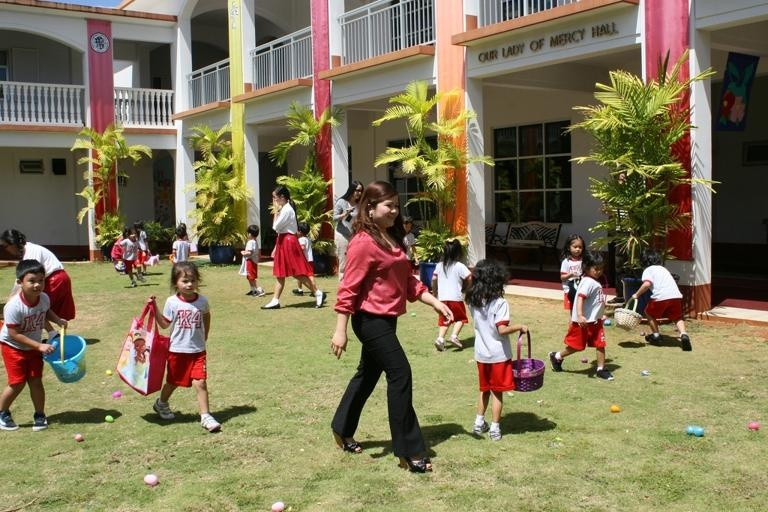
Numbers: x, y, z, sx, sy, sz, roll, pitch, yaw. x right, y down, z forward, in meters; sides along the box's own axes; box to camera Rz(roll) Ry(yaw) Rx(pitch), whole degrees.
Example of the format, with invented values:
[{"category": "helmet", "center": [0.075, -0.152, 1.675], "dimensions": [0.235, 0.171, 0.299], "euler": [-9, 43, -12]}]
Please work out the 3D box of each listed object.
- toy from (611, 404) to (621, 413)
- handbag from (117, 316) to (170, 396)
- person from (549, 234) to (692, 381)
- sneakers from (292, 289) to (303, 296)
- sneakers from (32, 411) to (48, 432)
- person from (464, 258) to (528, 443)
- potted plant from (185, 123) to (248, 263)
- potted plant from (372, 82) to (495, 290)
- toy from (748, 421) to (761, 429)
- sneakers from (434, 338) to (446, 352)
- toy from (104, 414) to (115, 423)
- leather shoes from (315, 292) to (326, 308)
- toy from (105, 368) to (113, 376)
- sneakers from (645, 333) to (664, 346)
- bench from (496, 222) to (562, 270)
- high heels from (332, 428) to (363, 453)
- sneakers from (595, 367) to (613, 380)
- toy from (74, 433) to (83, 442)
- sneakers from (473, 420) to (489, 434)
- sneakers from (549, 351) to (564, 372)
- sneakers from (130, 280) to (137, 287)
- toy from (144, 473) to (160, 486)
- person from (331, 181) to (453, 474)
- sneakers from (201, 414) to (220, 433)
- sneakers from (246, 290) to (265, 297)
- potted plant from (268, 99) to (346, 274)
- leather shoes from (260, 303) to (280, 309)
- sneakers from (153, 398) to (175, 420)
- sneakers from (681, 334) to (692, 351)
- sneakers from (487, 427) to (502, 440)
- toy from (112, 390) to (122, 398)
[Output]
[{"category": "toy", "center": [2.222, 1.477, 5.704], "dimensions": [0.064, 0.034, 0.064], "euler": [-1, 3, 2]}, {"category": "handbag", "center": [-2.254, 0.918, 5.500], "dimensions": [0.457, 0.665, 0.254], "euler": [0, 8, 12]}, {"category": "person", "center": [3.187, 0.701, 7.813], "dimensions": [1.608, 1.422, 0.877], "euler": [-6, 0, -12]}, {"category": "sneakers", "center": [-1.671, 0.696, 11.394], "dimensions": [0.215, 0.093, 0.095], "euler": [12, 14, 42]}, {"category": "sneakers", "center": [-3.153, 1.513, 5.403], "dimensions": [0.090, 0.089, 0.209], "euler": [0, -3, -15]}, {"category": "person", "center": [0.956, 0.813, 5.184], "dimensions": [0.370, 1.526, 0.467], "euler": [-8, 10, -40]}, {"category": "potted plant", "center": [-4.877, -1.384, 16.842], "dimensions": [1.837, 3.103, 1.587], "euler": [-15, -10, 26]}, {"category": "potted plant", "center": [0.731, -1.679, 12.178], "dimensions": [2.163, 3.517, 2.381], "euler": [-18, 4, -17]}, {"category": "toy", "center": [3.279, 1.503, 5.257], "dimensions": [0.066, 0.044, 0.066], "euler": [-1, 1, -2]}, {"category": "sneakers", "center": [0.703, 1.130, 7.537], "dimensions": [0.097, 0.114, 0.246], "euler": [4, -22, 22]}, {"category": "toy", "center": [-2.597, 1.545, 5.599], "dimensions": [0.060, 0.031, 0.061], "euler": [5, -1, 12]}, {"category": "leather shoes", "center": [-1.115, 0.832, 10.393], "dimensions": [0.130, 0.325, 0.111], "euler": [-4, 38, -5]}, {"category": "toy", "center": [-3.266, 1.380, 7.012], "dimensions": [0.075, 0.065, 0.065], "euler": [-3, 0, 2]}, {"category": "sneakers", "center": [3.561, 1.102, 7.798], "dimensions": [0.096, 0.114, 0.266], "euler": [-1, 7, -8]}, {"category": "bench", "center": [3.357, -0.279, 14.318], "dimensions": [0.693, 1.099, 1.804], "euler": [-2, 4, -27]}, {"category": "high heels", "center": [-0.354, 1.561, 5.031], "dimensions": [0.336, 0.134, 0.119], "euler": [8, 8, 40]}, {"category": "sneakers", "center": [2.478, 1.307, 6.611], "dimensions": [0.188, 0.105, 0.232], "euler": [-2, 8, -7]}, {"category": "toy", "center": [-2.680, 1.593, 5.187], "dimensions": [0.064, 0.062, 0.074], "euler": [13, 11, -34]}, {"category": "sneakers", "center": [0.858, 1.513, 5.256], "dimensions": [0.068, 0.085, 0.188], "euler": [8, 12, 36]}, {"category": "sneakers", "center": [2.000, 1.234, 6.877], "dimensions": [0.183, 0.283, 0.097], "euler": [-3, 9, 33]}, {"category": "sneakers", "center": [-5.576, 0.609, 13.122], "dimensions": [0.087, 0.149, 0.215], "euler": [-2, -1, -2]}, {"category": "toy", "center": [-1.772, 1.703, 4.504], "dimensions": [0.082, 0.050, 0.082], "euler": [3, -5, 8]}, {"category": "person", "center": [-0.001, 0.538, 4.736], "dimensions": [0.890, 2.258, 0.631], "euler": [-2, 8, -5]}, {"category": "sneakers", "center": [-1.586, 1.515, 5.398], "dimensions": [0.173, 0.137, 0.182], "euler": [-4, 8, -17]}, {"category": "sneakers", "center": [-2.514, 0.719, 11.580], "dimensions": [0.405, 0.171, 0.136], "euler": [5, 6, 37]}, {"category": "potted plant", "center": [-1.972, -1.945, 14.747], "dimensions": [2.017, 3.585, 1.874], "euler": [-8, 18, -43]}, {"category": "leather shoes", "center": [-1.978, 0.853, 10.243], "dimensions": [0.345, 0.136, 0.124], "euler": [2, 1, 3]}, {"category": "sneakers", "center": [-2.097, 1.479, 5.621], "dimensions": [0.288, 0.127, 0.115], "euler": [31, 33, 28]}, {"category": "sneakers", "center": [3.826, 1.119, 7.491], "dimensions": [0.111, 0.279, 0.121], "euler": [-6, 44, 16]}, {"category": "sneakers", "center": [0.962, 1.544, 5.149], "dimensions": [0.117, 0.086, 0.119], "euler": [0, 8, 10]}, {"category": "toy", "center": [-2.813, 1.456, 6.211], "dimensions": [0.069, 0.050, 0.070], "euler": [0, -1, -7]}]
